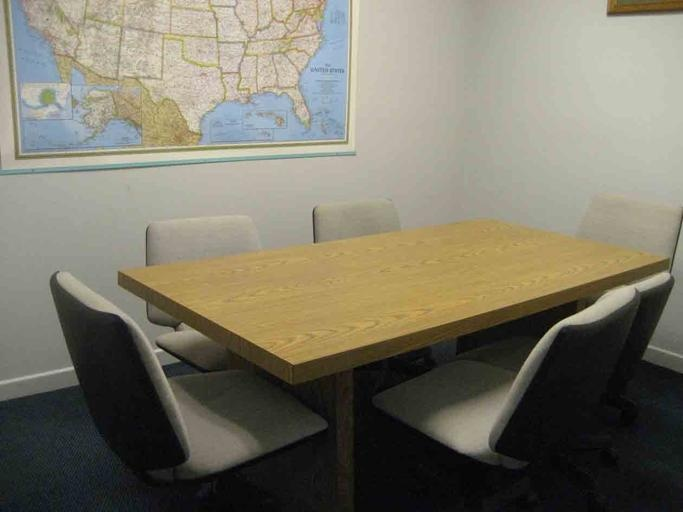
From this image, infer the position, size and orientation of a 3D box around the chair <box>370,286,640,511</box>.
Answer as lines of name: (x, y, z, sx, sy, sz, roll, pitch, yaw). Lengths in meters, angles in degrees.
chair: (0.527, 0.265, 1.828, 0.649, 0.793, 0.808, -28, 36, -34)

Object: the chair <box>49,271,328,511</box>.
chair: (-0.482, 0.330, 1.667, 0.782, 0.482, 0.712, -3, 12, -37)
